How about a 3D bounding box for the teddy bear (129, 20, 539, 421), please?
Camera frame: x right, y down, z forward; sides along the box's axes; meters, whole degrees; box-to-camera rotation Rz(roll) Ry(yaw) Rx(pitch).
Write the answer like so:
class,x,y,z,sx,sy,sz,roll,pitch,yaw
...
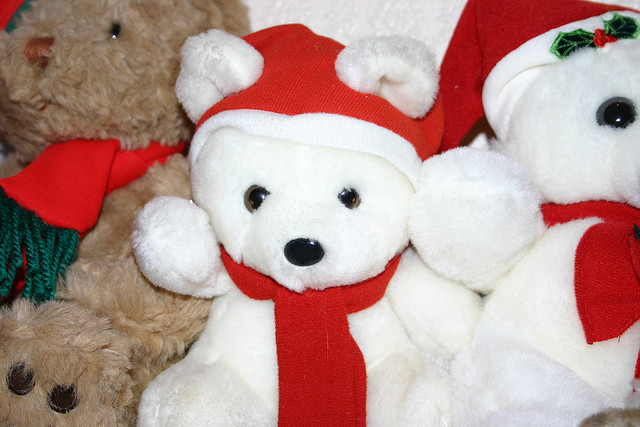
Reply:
class,x,y,z,sx,sy,sz,roll,pitch,yaw
teddy bear,-0.055,0.069,1.602,0.768,0.645,0.928,-1,-70,4
